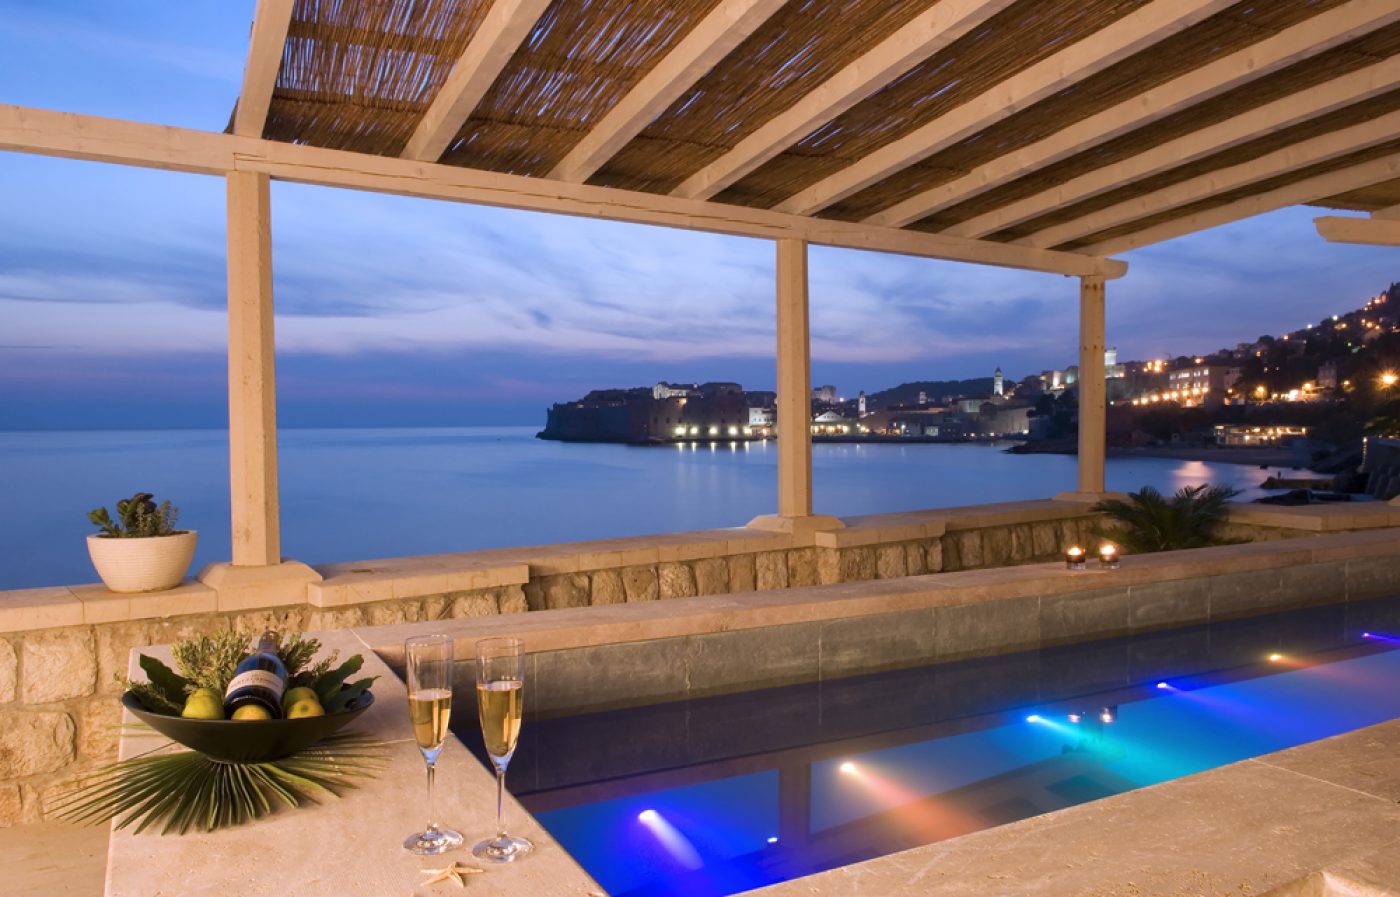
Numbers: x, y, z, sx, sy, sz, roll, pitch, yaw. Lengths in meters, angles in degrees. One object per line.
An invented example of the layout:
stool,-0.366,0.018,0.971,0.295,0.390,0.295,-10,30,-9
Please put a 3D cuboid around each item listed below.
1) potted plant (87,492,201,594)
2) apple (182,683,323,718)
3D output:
potted plant,-3.070,0.500,5.062,0.617,0.450,0.499,2,5,-1
apple,-1.371,0.734,2.814,0.350,0.104,0.105,0,-2,-5
